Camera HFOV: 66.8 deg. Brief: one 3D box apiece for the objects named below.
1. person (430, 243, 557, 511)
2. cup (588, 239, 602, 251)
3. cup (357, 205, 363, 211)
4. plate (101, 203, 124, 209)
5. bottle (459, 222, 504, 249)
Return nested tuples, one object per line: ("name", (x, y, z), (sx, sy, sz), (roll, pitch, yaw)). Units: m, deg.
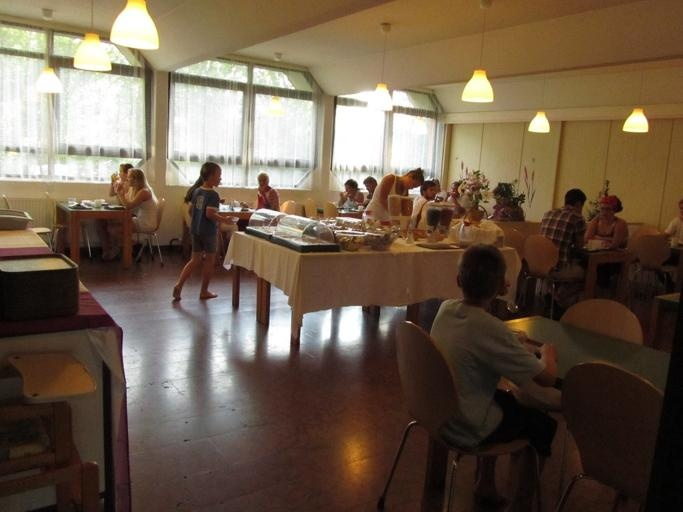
("person", (0.707, 0.635, 2.452), (0.683, 1.361, 0.491), (1, 12, -9))
("cup", (2.795, -0.121, 5.740), (0.115, 0.115, 0.123), (0, 8, 0))
("cup", (0.307, -0.779, 8.583), (0.091, 0.047, 0.095), (3, 18, -1))
("plate", (-3.214, -0.687, 7.216), (0.256, 0.046, 0.475), (-6, 17, -36))
("bottle", (1.312, -0.209, 4.943), (0.404, 0.208, 0.319), (0, 5, -26))
